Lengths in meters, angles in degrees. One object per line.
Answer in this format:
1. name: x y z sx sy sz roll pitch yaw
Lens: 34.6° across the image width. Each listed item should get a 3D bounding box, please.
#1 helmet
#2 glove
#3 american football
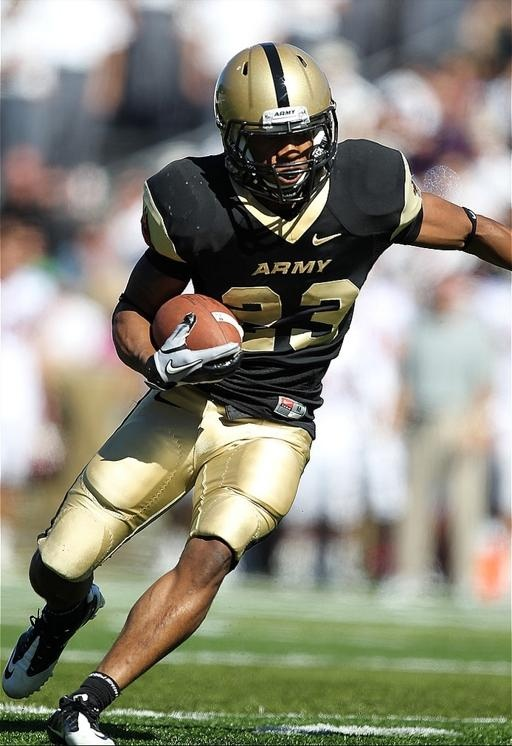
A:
1. helmet: 0.050 -0.606 1.923 0.296 0.303 0.370 -10 37 -8
2. glove: -0.131 -0.047 1.739 0.202 0.158 0.095 1 -6 -5
3. american football: -0.122 -0.089 1.752 0.164 0.095 0.281 -9 19 -26
